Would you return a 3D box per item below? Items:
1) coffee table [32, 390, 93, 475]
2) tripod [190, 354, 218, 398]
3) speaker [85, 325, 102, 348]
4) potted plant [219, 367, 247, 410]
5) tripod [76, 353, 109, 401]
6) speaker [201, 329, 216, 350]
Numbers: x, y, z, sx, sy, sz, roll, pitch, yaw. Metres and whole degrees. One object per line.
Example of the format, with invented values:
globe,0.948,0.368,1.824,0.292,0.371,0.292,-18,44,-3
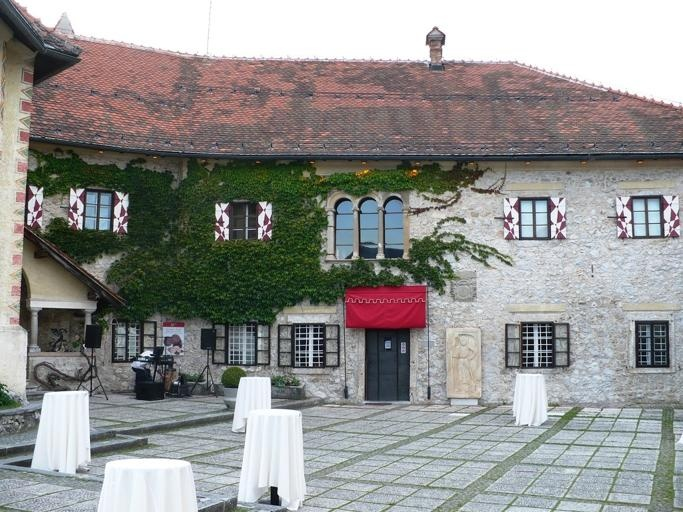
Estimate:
coffee table,-5.779,3.680,22.750,1.365,1.439,1.146,-2,-6,-23
tripod,-4.298,3.615,32.719,0.731,1.348,1.008,-1,-8,-7
speaker,-7.332,2.321,30.642,0.762,0.627,0.678,2,-3,-26
potted plant,-3.261,3.699,29.737,0.941,1.033,0.828,-1,-12,27
tripod,-7.547,3.525,31.742,0.926,1.526,2.191,0,-8,-14
speaker,-3.991,2.471,31.549,0.427,0.587,0.258,0,-9,-13
